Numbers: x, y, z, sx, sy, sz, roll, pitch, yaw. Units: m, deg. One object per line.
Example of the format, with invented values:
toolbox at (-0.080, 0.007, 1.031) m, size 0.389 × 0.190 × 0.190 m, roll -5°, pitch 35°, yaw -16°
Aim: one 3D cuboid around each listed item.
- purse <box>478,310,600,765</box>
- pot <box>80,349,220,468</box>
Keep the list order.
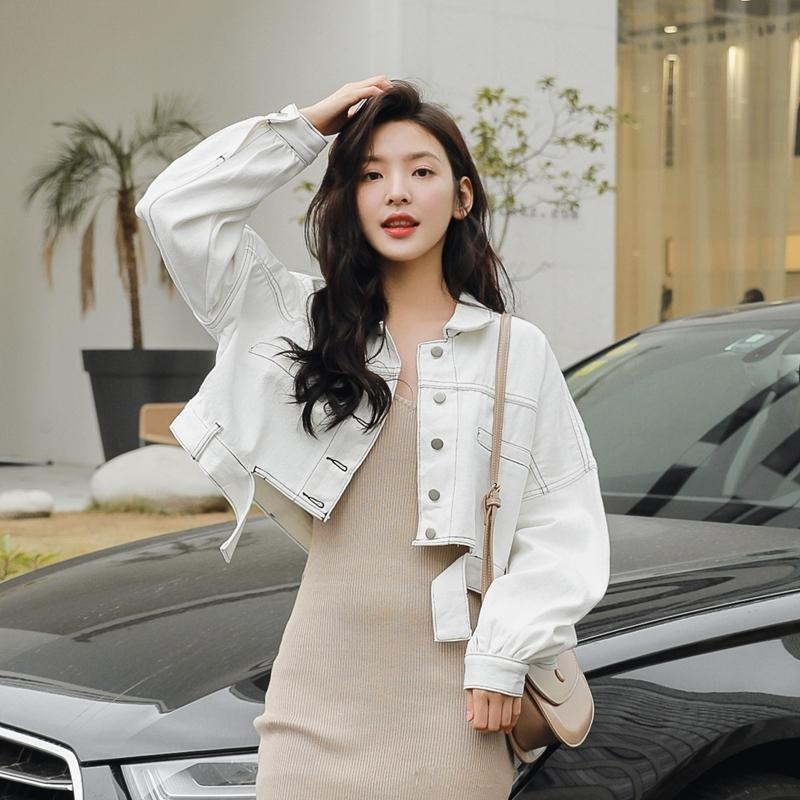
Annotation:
purse at (0.216, 0.248, 1.611) m, size 0.165 × 0.756 × 0.387 m, roll -2°, pitch 10°, yaw 9°
pot at (-2.426, 0.226, 9.912) m, size 1.695 × 1.394 × 1.259 m, roll 0°, pitch -6°, yaw -7°
